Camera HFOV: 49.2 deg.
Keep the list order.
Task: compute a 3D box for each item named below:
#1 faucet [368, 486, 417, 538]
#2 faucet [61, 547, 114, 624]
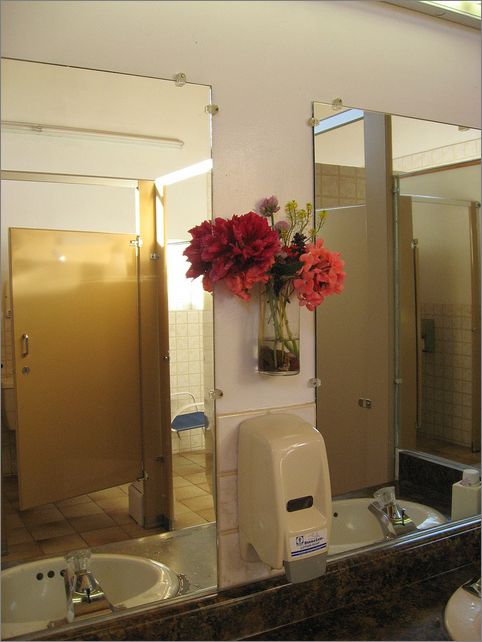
[{"bbox_3d":[0.379,0.477,1.391,0.077,0.117,0.145,-7,23,-19],"label":"faucet"},{"bbox_3d":[-0.287,0.486,1.013,0.089,0.127,0.103,-4,6,-26],"label":"faucet"}]
